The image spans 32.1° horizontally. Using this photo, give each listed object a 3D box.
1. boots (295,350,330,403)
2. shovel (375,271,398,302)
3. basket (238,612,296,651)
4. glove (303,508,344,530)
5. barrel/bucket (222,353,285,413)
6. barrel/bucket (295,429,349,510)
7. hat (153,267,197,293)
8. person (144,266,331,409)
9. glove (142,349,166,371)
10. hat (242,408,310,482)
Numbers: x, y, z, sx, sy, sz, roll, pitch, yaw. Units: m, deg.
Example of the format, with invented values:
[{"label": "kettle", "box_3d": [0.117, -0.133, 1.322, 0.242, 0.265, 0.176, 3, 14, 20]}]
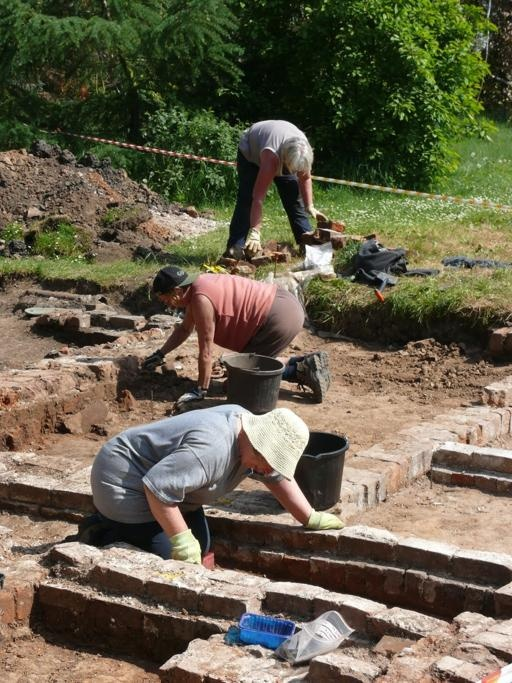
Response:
[{"label": "boots", "box_3d": [0.408, 0.224, 6.266, 0.218, 0.154, 0.427, -4, -17, 12]}, {"label": "shovel", "box_3d": [1.125, -0.472, 7.715, 0.181, 0.073, 0.305, 3, 33, 22]}, {"label": "basket", "box_3d": [0.036, 1.127, 3.467, 0.202, 0.060, 0.123, 3, 14, 5]}, {"label": "glove", "box_3d": [0.323, 0.841, 4.256, 0.154, 0.049, 0.103, -5, 8, -24]}, {"label": "barrel/bucket", "box_3d": [-0.029, 0.251, 5.772, 0.439, 0.277, 0.388, 17, 21, 38]}, {"label": "barrel/bucket", "box_3d": [0.311, 0.682, 4.609, 0.368, 0.300, 0.348, -2, 9, 0]}, {"label": "hat", "box_3d": [-0.502, -0.396, 5.552, 0.252, 0.113, 0.156, -24, 15, -8]}, {"label": "person", "box_3d": [-0.205, -0.053, 5.921, 1.507, 0.730, 0.720, 8, 17, -15]}, {"label": "glove", "box_3d": [-0.765, 0.145, 6.316, 0.257, 0.086, 0.103, -23, 21, 52]}, {"label": "hat", "box_3d": [0.087, 0.406, 3.775, 0.180, 0.315, 0.297, -43, -4, 12]}]
